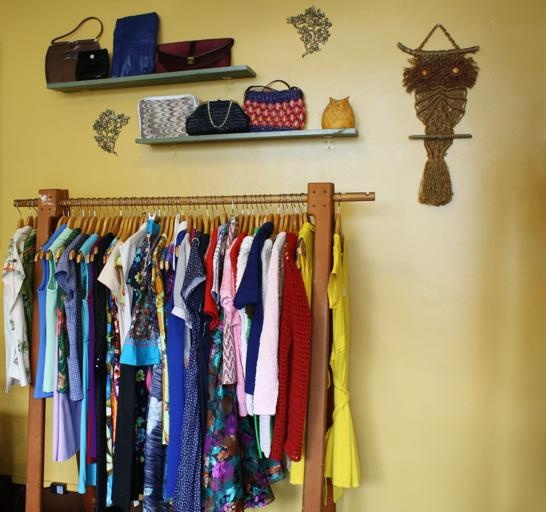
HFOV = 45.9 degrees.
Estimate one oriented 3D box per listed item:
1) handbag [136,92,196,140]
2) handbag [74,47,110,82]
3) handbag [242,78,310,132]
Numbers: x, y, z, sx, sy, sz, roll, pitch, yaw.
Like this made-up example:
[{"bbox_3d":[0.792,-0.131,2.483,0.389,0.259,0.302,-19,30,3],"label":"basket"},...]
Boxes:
[{"bbox_3d":[-0.545,-0.769,3.276,0.312,0.096,0.371,-7,-25,-9],"label":"handbag"},{"bbox_3d":[-0.947,-0.999,3.368,0.158,0.197,0.071,-1,-4,12],"label":"handbag"},{"bbox_3d":[0.025,-0.728,3.153,0.231,0.260,0.077,0,3,7],"label":"handbag"}]
